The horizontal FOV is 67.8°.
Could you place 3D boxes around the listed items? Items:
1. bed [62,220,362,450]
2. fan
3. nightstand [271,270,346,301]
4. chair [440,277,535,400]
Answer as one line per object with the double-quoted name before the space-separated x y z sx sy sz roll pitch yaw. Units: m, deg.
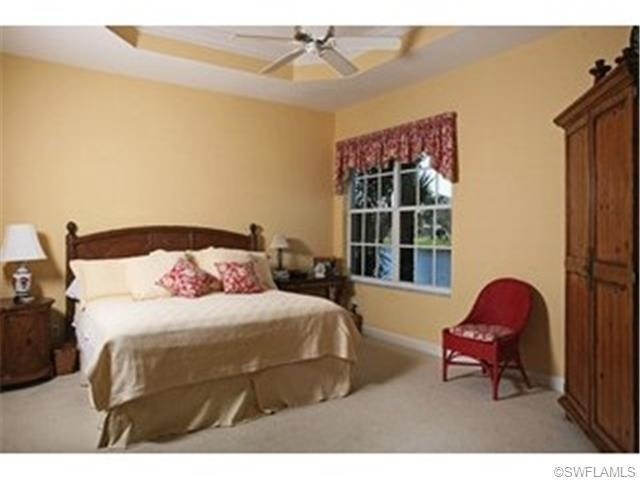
"bed" -1.105 0.680 4.856 2.459 1.615 2.176 -2 4 -28
"fan" -0.099 -1.859 4.461 0.906 0.161 0.891 3 4 19
"nightstand" -0.145 0.757 6.372 0.984 0.489 0.390 -6 0 -5
"chair" 1.662 0.910 4.685 0.792 1.037 0.704 -4 6 -42
